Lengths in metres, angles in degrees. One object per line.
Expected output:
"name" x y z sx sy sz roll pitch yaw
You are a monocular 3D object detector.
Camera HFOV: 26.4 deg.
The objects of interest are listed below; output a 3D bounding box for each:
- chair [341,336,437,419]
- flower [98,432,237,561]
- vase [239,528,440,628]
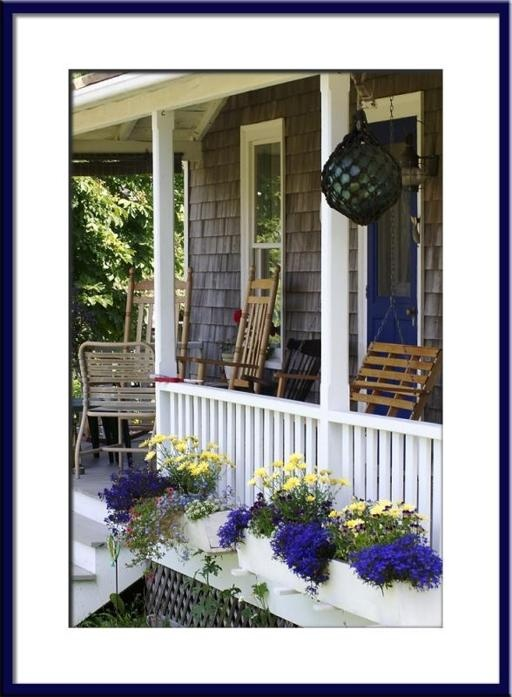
"chair" 0.814 0.160 6.292 0.430 0.552 0.520 -2 3 -39
"flower" -0.409 0.759 5.878 0.781 0.336 0.796 -14 36 -29
"vase" 0.337 1.011 4.651 0.201 0.221 1.216 3 -1 -33
